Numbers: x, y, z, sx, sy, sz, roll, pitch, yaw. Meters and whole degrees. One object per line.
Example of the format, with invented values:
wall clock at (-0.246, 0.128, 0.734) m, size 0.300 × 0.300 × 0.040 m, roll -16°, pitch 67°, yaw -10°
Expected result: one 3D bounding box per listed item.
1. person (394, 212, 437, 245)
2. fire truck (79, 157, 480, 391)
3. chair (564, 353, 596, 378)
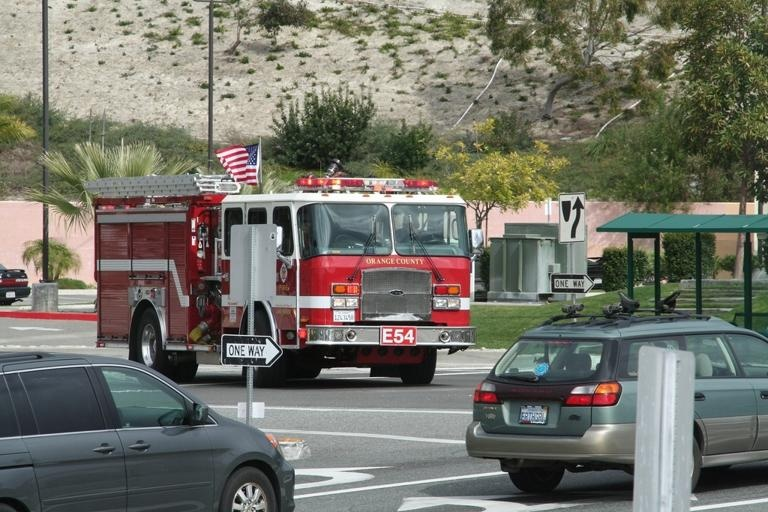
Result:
person at (0.757, -0.701, 37.513) m, size 0.956 × 0.861 × 0.216 m, roll -1°, pitch 1°, yaw -8°
fire truck at (-3.458, 0.520, 39.197) m, size 4.903 × 4.213 × 9.323 m, roll 1°, pitch -2°, yaw -39°
chair at (3.879, 2.192, 29.013) m, size 0.550 × 0.520 × 0.466 m, roll 1°, pitch -17°, yaw 11°
